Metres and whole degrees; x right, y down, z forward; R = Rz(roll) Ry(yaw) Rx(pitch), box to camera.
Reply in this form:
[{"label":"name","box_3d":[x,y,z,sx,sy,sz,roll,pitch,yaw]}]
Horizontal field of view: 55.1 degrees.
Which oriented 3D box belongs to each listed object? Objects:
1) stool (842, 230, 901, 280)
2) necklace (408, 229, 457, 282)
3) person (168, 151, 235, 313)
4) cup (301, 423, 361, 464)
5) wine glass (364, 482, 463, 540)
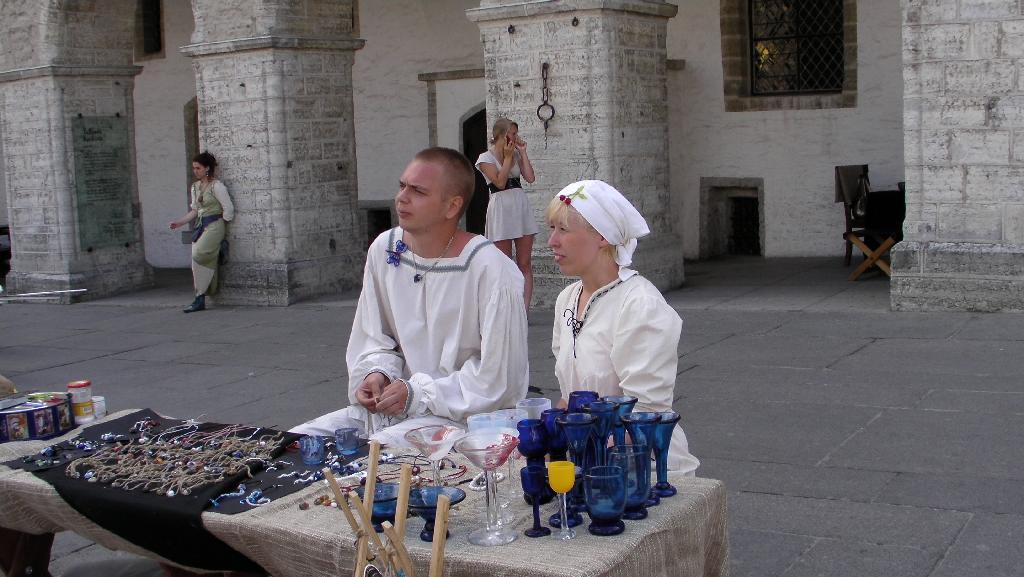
[{"label":"stool","box_3d":[4.642,-0.405,12.623,0.748,0.587,0.751,4,2,14]},{"label":"necklace","box_3d":[-0.497,-0.212,6.301,0.222,0.286,0.187,23,18,32]},{"label":"person","box_3d":[-4.150,-0.776,13.177,0.761,2.134,0.478,-1,6,25]},{"label":"cup","box_3d":[-1.045,0.915,5.718,0.330,0.129,0.172,-1,-1,-31]},{"label":"wine glass","box_3d":[-0.517,1.134,4.977,0.360,0.137,0.343,0,-2,-1]}]
